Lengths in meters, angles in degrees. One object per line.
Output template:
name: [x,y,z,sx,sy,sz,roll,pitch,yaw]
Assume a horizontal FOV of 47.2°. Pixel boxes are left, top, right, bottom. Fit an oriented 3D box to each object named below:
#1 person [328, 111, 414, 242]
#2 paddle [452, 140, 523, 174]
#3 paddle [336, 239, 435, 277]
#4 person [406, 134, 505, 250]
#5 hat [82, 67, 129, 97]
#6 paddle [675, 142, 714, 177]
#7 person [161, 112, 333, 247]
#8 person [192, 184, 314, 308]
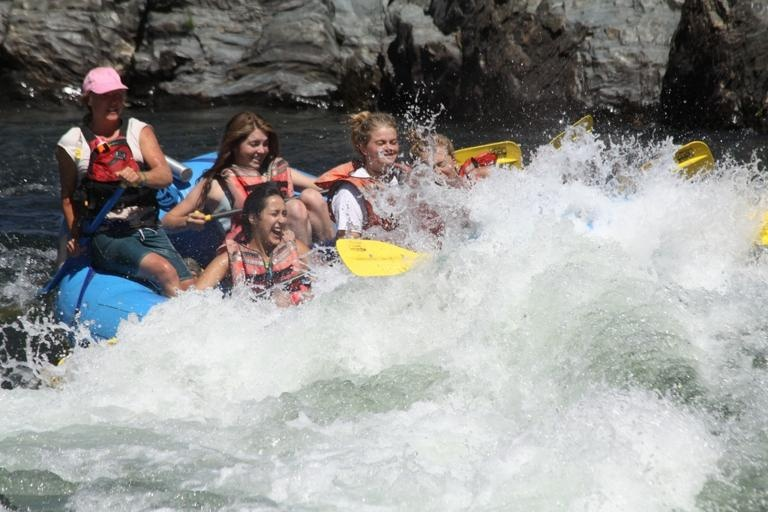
person: [-0.107,-0.679,7.339,0.649,0.995,0.451,-3,17,-11]
paddle: [1.005,-0.959,8.354,0.557,0.188,0.385,-7,-4,30]
paddle: [0.031,0.040,6.849,0.908,0.300,0.119,0,16,37]
person: [0.580,-0.612,7.445,0.743,0.835,1.015,3,17,6]
hat: [-2.284,-1.405,7.095,0.244,0.155,0.323,-7,0,-28]
paddle: [2.704,-0.834,7.681,0.497,0.301,0.200,-14,22,-40]
person: [-1.134,-0.662,7.560,1.049,0.576,1.348,-7,31,-9]
person: [-1.033,0.066,7.191,0.859,1.003,0.445,11,-24,-27]
